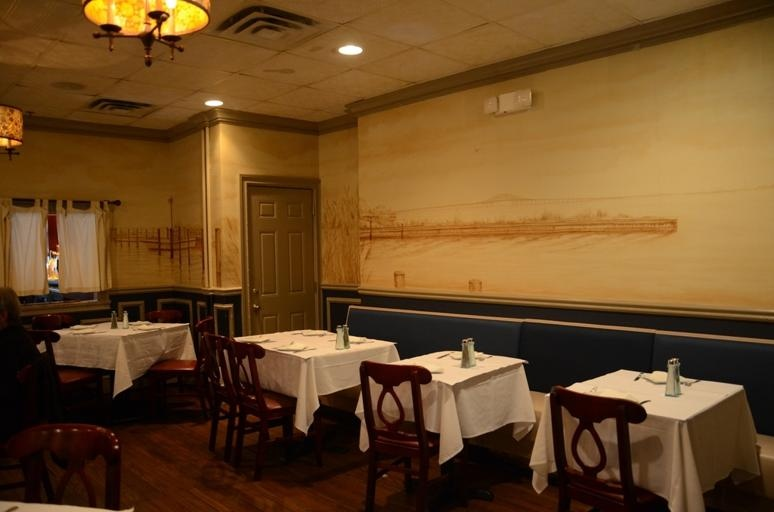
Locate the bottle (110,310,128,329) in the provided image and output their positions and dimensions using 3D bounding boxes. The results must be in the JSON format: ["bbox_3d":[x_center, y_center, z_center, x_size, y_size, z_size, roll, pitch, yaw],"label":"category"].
[{"bbox_3d":[-3.506,0.825,7.019,0.240,0.213,0.101,1,1,-19],"label":"bottle"}]
